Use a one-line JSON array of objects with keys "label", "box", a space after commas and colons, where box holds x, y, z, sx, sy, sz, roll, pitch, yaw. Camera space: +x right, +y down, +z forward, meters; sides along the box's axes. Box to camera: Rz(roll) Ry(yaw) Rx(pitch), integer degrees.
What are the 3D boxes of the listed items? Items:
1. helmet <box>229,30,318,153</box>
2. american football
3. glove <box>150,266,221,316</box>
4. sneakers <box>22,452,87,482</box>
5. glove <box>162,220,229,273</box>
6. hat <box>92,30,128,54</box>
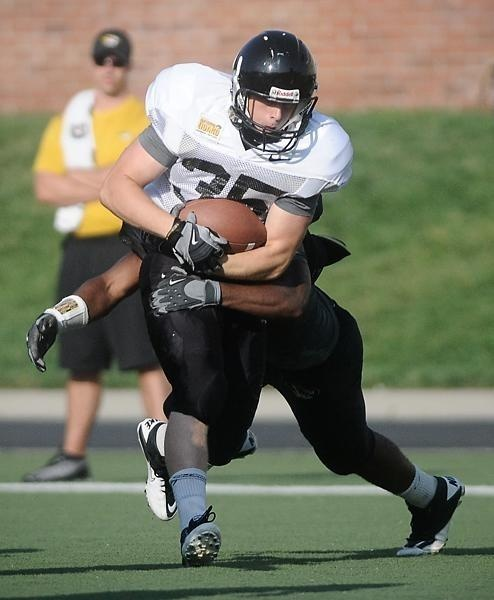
[{"label": "helmet", "box": [0.067, -0.534, 1.964, 0.214, 0.306, 0.250, 3, 25, 9]}, {"label": "american football", "box": [-0.057, -0.196, 1.977, 0.230, 0.102, 0.132, 9, -16, 2]}, {"label": "glove", "box": [-0.138, -0.019, 1.870, 0.223, 0.076, 0.113, 1, 63, 29]}, {"label": "sneakers", "box": [-0.822, 0.732, 3.287, 0.348, 0.112, 0.108, 0, -7, -9]}, {"label": "glove", "box": [-0.111, -0.122, 1.862, 0.106, 0.048, 0.112, -20, 42, 5]}, {"label": "hat", "box": [-0.660, -1.236, 3.613, 0.169, 0.078, 0.170, -5, -3, -1]}]
